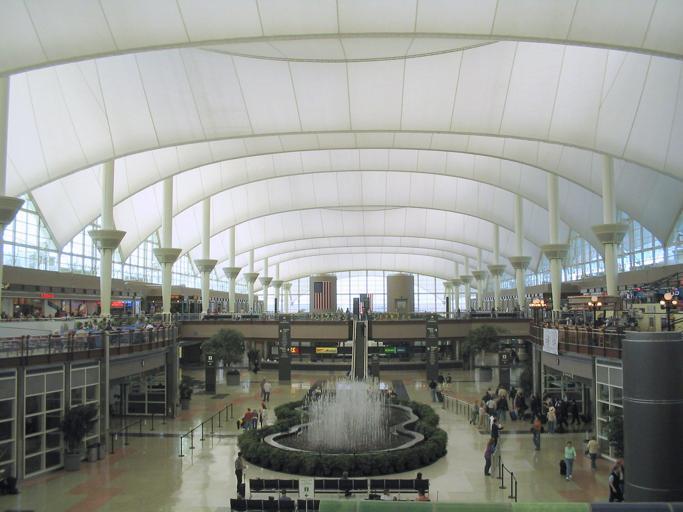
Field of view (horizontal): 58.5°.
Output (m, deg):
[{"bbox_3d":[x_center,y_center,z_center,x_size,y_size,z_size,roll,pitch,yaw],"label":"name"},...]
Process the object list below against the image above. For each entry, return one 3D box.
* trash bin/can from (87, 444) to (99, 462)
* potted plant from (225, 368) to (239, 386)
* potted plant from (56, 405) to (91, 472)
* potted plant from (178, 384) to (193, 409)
[{"bbox_3d":[-10.520,8.323,25.823,0.549,0.781,0.505,2,-6,-28],"label":"trash bin/can"},{"bbox_3d":[-8.473,9.436,47.166,0.890,0.709,0.953,-2,-2,18],"label":"potted plant"},{"bbox_3d":[-10.861,7.402,24.754,1.189,2.465,0.725,2,-8,-24],"label":"potted plant"},{"bbox_3d":[-9.390,8.364,36.443,0.971,1.668,1.072,4,-7,-29],"label":"potted plant"}]
